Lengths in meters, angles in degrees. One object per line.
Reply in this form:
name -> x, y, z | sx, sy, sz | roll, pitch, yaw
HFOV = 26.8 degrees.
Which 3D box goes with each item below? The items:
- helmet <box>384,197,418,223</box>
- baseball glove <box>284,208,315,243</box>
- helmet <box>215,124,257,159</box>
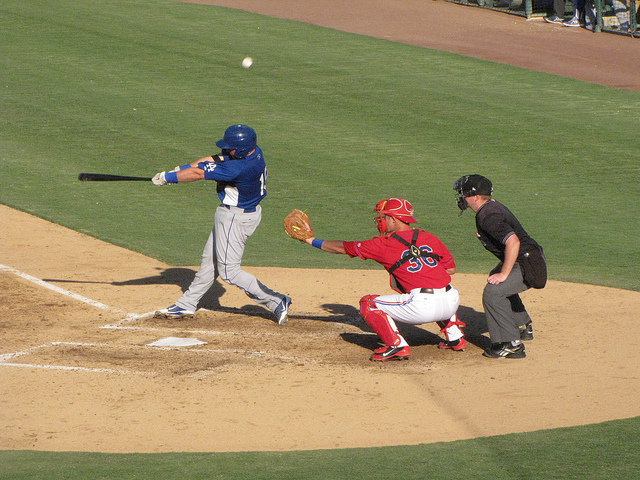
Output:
helmet -> 1.124, -0.395, 17.990 | 0.539, 0.170, 0.304 | 14, 8, 11
baseball glove -> -0.261, -0.178, 18.214 | 0.411, 0.441, 0.259 | 25, 17, 36
helmet -> -1.171, -1.367, 18.530 | 0.625, 0.328, 0.451 | -14, 34, -33
